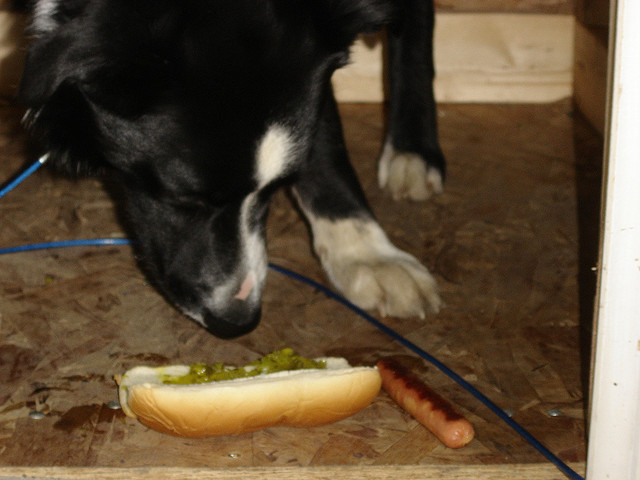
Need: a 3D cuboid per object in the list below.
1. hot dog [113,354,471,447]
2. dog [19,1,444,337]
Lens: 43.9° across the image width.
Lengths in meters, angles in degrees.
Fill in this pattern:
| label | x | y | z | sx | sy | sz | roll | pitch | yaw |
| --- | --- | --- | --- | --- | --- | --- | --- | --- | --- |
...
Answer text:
| label | x | y | z | sx | sy | sz | roll | pitch | yaw |
| --- | --- | --- | --- | --- | --- | --- | --- | --- | --- |
| hot dog | -0.107 | 0.460 | 2.399 | 0.744 | 0.152 | 0.392 | -3 | 4 | -4 |
| dog | -0.351 | -0.677 | 2.954 | 0.819 | 1.025 | 1.927 | -6 | 58 | -6 |
